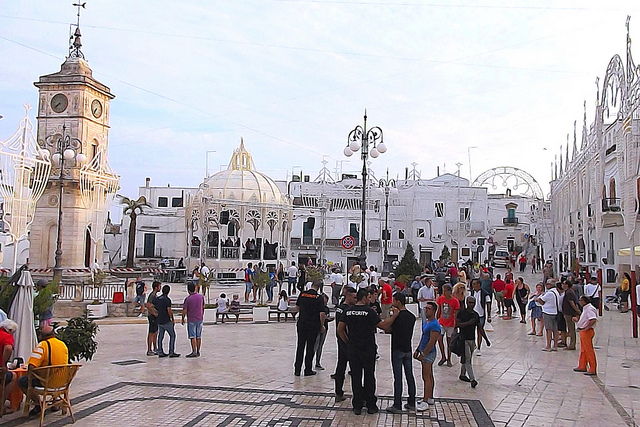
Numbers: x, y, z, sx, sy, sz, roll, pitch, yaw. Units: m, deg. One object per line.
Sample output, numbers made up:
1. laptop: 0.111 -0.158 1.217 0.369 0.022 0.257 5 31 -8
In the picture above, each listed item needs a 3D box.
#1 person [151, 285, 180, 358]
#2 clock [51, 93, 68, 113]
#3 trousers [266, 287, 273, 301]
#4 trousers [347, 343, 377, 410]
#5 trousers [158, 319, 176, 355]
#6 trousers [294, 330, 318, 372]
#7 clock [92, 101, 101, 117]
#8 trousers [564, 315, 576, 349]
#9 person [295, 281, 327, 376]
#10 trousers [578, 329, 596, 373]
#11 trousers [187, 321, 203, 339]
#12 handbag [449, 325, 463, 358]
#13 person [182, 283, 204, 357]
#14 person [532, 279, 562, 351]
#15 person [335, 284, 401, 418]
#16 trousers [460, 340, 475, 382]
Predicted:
1. person: -4.943 3.401 18.812 0.843 2.217 1.502 3 -7 -15
2. clock: -17.124 -7.265 38.731 1.214 1.218 1.205 7 36 -18
3. trousers: -2.680 4.202 30.681 0.302 0.691 0.722 2 -7 0
4. trousers: 0.962 3.766 13.707 0.783 1.353 0.637 0 0 4
5. trousers: -4.826 3.865 18.491 0.543 1.079 0.532 2 -7 -8
6. trousers: -0.406 3.783 16.199 0.619 1.157 0.313 0 -7 12
7. clock: -15.131 -7.176 39.802 0.308 0.789 0.792 2 2 31
8. trousers: 8.143 3.890 19.303 0.283 1.115 0.445 -3 -8 32
9. person: -0.277 3.152 16.177 0.800 2.580 0.585 2 -7 -2
10. trousers: 7.546 3.894 16.726 0.395 1.193 0.471 3 -7 -11
11. trousers: -3.904 3.627 18.321 0.416 0.532 0.290 4 -7 -19
12. handbag: 3.615 3.393 15.712 0.305 0.849 0.691 0 -7 12
13. person: -3.985 3.322 18.437 0.582 2.267 0.631 3 -7 -13
14. person: 7.656 3.366 19.687 0.709 2.339 1.169 -1 -7 20
15. person: 1.087 3.203 14.027 1.431 2.760 0.754 2 4 20
16. trousers: 3.877 3.872 15.580 0.321 1.050 0.774 0 -7 13
